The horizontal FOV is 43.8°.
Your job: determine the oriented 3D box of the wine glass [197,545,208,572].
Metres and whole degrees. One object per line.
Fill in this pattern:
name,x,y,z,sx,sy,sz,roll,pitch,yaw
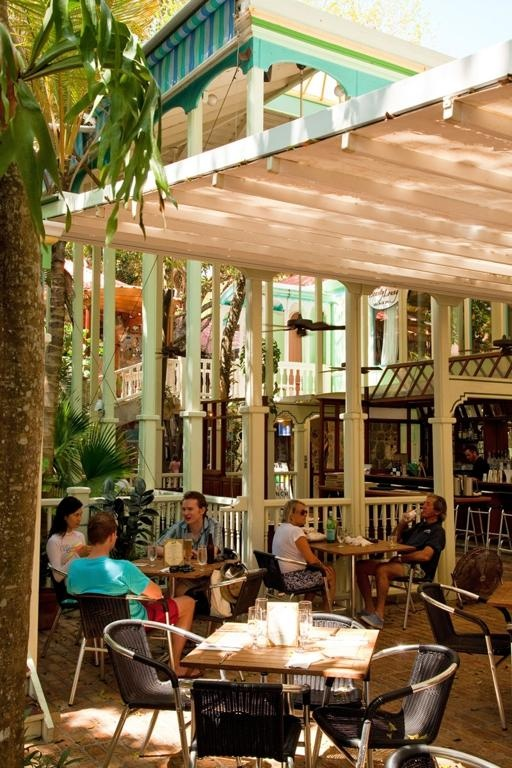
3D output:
wine glass,-0.471,1.532,5.609,0.113,0.228,0.118,0,-4,-18

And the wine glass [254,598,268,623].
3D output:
wine glass,0.024,1.098,3.097,0.063,0.124,0.077,0,-1,1

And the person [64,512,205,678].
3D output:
person,-0.876,1.515,4.758,0.855,1.300,0.900,0,2,7

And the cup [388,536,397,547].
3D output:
cup,1.551,1.755,7.184,0.109,0.148,0.119,2,-5,0

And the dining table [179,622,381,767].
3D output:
dining table,0.216,1.668,3.513,0.529,0.800,0.550,18,-18,-27

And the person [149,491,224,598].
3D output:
person,-0.603,1.481,5.887,0.572,0.936,0.495,3,-15,-20

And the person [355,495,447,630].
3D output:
person,1.595,1.921,6.951,0.862,1.600,0.676,13,-19,-2

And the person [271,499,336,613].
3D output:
person,0.511,1.788,6.388,0.606,1.295,0.442,0,-3,-12

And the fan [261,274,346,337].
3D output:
fan,0.831,-1.589,11.347,1.141,1.533,1.204,8,-21,-22

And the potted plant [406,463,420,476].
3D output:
potted plant,3.374,1.813,13.544,0.117,0.315,0.221,2,-34,-40
